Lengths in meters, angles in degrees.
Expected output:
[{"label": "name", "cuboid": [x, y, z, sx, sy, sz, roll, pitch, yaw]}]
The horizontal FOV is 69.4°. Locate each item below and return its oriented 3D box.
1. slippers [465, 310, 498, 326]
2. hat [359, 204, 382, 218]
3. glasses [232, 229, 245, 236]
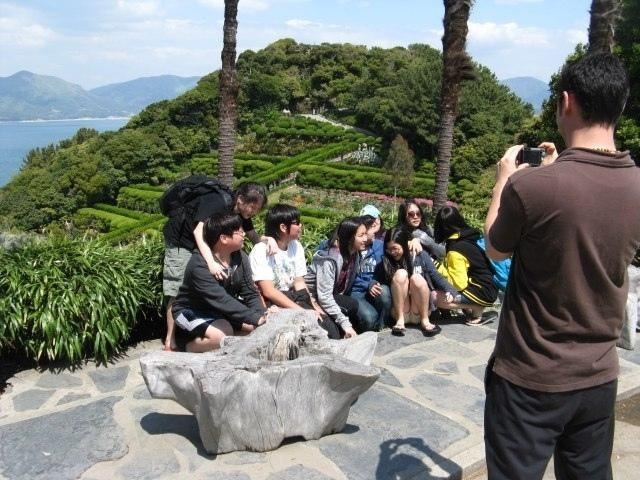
[{"label": "slippers", "cuboid": [2.018, 0.971, 5.804, 0.468, 0.135, 0.174, -5, 9, -33]}, {"label": "hat", "cuboid": [0.641, -0.378, 6.011, 0.154, 0.161, 0.265, 5, 6, 26]}, {"label": "glasses", "cuboid": [-0.742, -0.078, 4.152, 0.057, 0.019, 0.058, 5, -21, -37]}]
